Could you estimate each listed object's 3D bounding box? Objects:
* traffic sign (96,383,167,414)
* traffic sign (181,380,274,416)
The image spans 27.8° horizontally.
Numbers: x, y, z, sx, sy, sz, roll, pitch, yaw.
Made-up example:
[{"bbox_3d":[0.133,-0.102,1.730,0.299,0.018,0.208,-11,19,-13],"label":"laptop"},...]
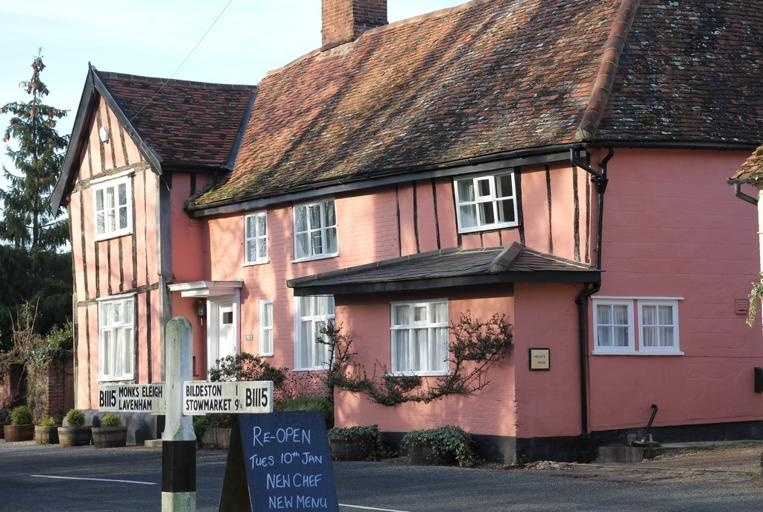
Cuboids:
[{"bbox_3d":[-4.548,2.628,28.114,1.334,0.671,0.399,-11,-6,23],"label":"traffic sign"},{"bbox_3d":[-2.720,2.518,27.579,1.834,0.754,0.352,-11,-6,26],"label":"traffic sign"}]
